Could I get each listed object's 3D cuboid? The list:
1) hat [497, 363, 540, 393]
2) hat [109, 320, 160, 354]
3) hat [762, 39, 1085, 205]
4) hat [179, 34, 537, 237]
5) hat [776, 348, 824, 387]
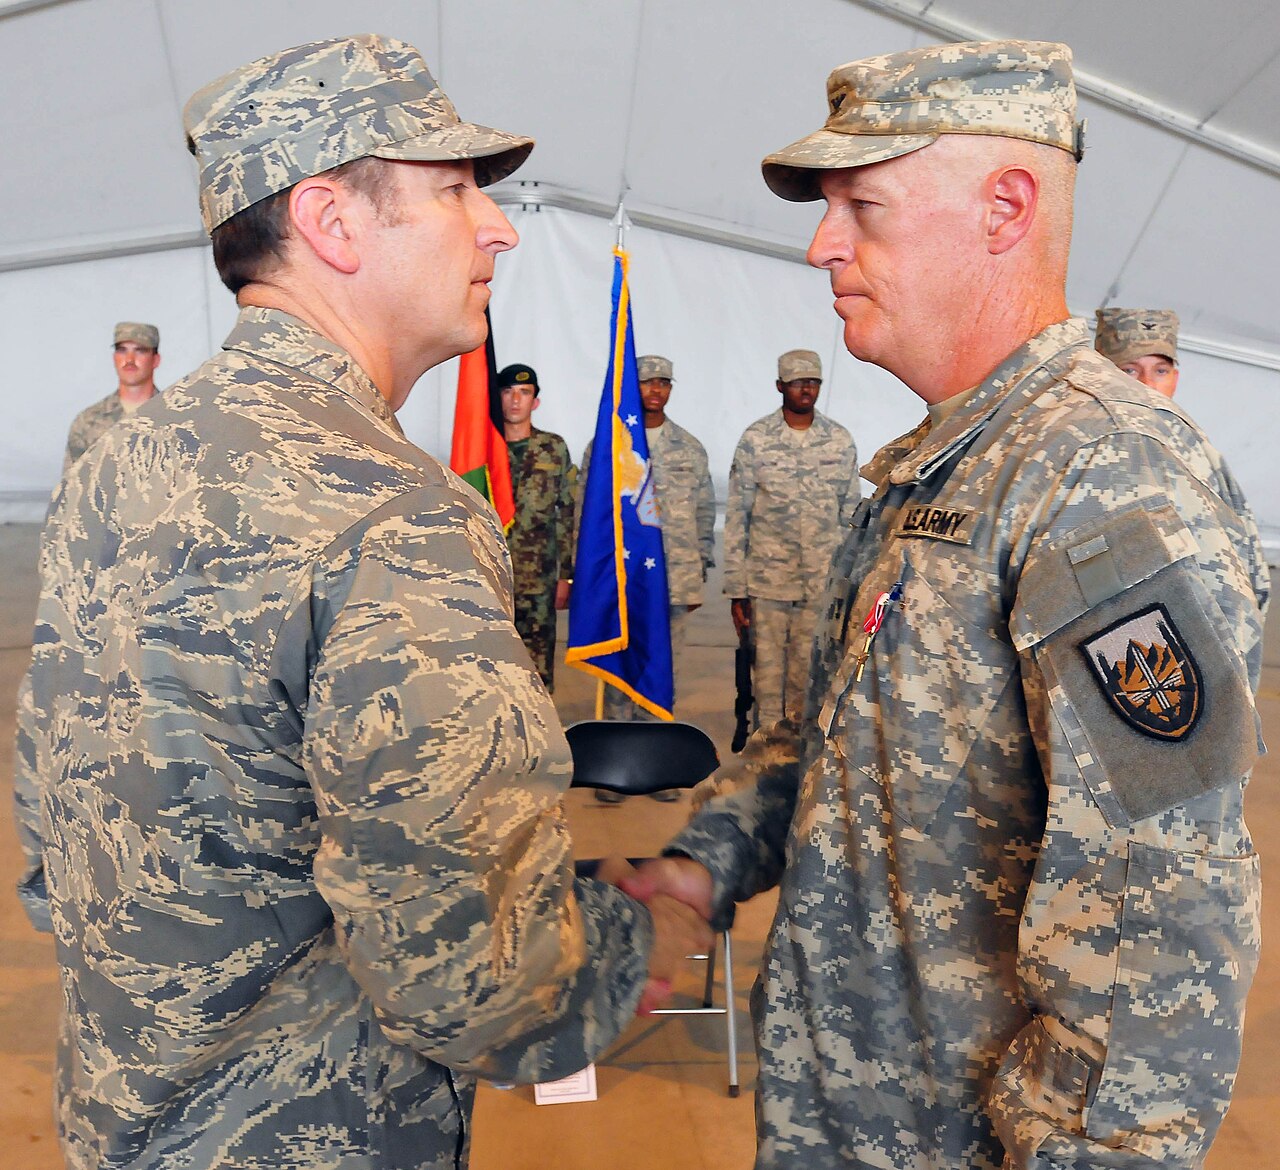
[{"bbox_3d":[-0.587,-0.976,7.001,0.213,0.073,0.245,1,-2,-5],"label":"hat"},{"bbox_3d":[-2.677,-1.303,7.775,0.220,0.086,0.260,2,5,2],"label":"hat"},{"bbox_3d":[0.386,-0.643,2.062,0.415,0.102,0.231,-6,7,1],"label":"hat"},{"bbox_3d":[-0.400,-0.595,1.989,0.481,0.154,0.243,-8,12,-5],"label":"hat"},{"bbox_3d":[0.738,-1.008,6.796,0.196,0.083,0.218,0,5,-1],"label":"hat"}]
